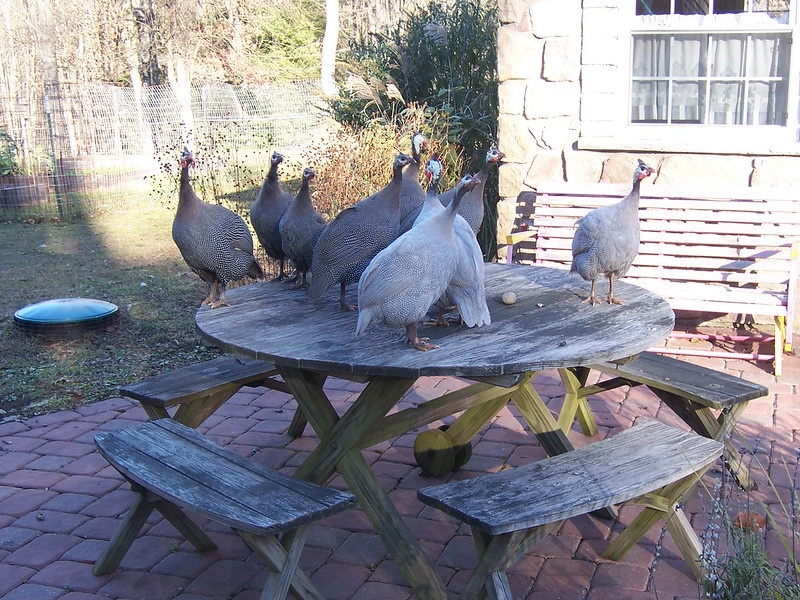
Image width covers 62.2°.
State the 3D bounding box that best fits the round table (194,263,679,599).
[{"bbox_3d":[0.077,0.275,2.946,1.697,0.742,1.649,0,20,0],"label":"round table"}]
